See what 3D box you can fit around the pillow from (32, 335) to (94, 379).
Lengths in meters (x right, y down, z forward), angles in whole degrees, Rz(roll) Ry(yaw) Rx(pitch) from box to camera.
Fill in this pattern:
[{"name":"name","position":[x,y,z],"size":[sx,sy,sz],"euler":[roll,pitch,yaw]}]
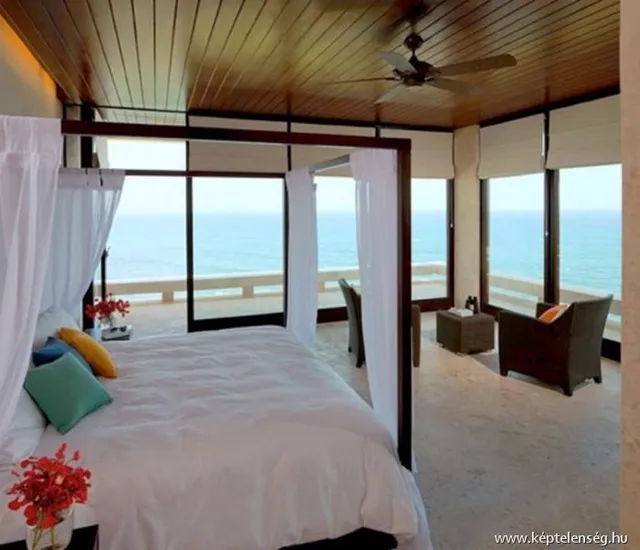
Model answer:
[{"name":"pillow","position":[-1.812,0.537,3.400],"size":[0.281,0.089,0.271],"euler":[43,6,28]}]

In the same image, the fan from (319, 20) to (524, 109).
[{"name":"fan","position":[0.974,-1.735,4.259],"size":[0.949,0.424,1.851],"euler":[1,9,6]}]

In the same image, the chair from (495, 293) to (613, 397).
[{"name":"chair","position":[2.380,0.598,5.124],"size":[0.646,0.985,0.831],"euler":[-8,12,-29]}]

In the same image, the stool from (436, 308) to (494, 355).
[{"name":"stool","position":[1.813,0.689,6.238],"size":[0.497,0.508,0.554],"euler":[0,2,-19]}]

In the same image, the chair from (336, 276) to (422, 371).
[{"name":"chair","position":[0.731,0.430,5.832],"size":[0.895,1.097,0.901],"euler":[3,21,21]}]

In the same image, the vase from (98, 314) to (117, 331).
[{"name":"vase","position":[-2.373,0.526,5.541],"size":[0.157,0.299,0.183],"euler":[-3,-2,41]}]

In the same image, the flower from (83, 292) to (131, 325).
[{"name":"flower","position":[-2.410,0.379,5.650],"size":[0.556,0.552,0.590],"euler":[1,-5,-25]}]

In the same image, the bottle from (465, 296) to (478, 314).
[{"name":"bottle","position":[1.891,0.378,6.269],"size":[0.022,0.256,0.170],"euler":[-3,4,-41]}]
